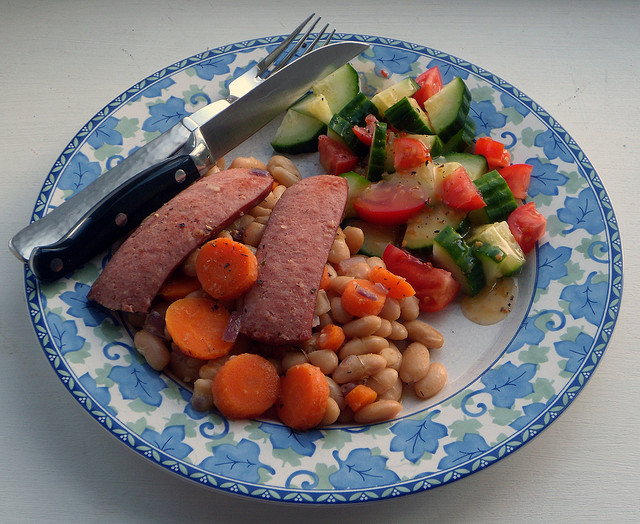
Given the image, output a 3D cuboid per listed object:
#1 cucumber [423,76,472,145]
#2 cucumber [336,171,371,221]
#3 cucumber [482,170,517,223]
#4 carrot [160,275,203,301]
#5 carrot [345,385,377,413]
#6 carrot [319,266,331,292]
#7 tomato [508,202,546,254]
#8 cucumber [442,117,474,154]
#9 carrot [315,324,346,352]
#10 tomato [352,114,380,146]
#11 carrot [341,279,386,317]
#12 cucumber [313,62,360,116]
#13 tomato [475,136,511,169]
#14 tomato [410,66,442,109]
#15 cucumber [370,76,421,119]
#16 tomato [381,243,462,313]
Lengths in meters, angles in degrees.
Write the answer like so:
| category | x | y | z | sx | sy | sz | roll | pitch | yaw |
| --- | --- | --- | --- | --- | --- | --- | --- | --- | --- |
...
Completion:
| category | x | y | z | sx | sy | sz | roll | pitch | yaw |
| --- | --- | --- | --- | --- | --- | --- | --- | --- | --- |
| cucumber | 0.584 | -0.787 | 3.534 | 0.373 | 0.086 | 0.253 | -6 | 103 | -29 |
| cucumber | 0.167 | -0.325 | 3.429 | 0.214 | 0.049 | 0.194 | 16 | 91 | -10 |
| cucumber | 0.880 | -0.329 | 3.361 | 0.057 | 0.211 | 0.197 | -17 | 55 | -7 |
| carrot | -0.615 | 0.120 | 3.103 | 0.130 | 0.135 | 0.035 | -37 | 112 | -30 |
| carrot | 0.171 | 0.572 | 2.969 | 0.115 | 0.098 | 0.106 | -38 | 65 | -8 |
| carrot | 0.031 | 0.078 | 3.120 | 0.043 | 0.081 | 0.080 | 33 | 60 | -24 |
| tomato | 1.004 | -0.196 | 3.363 | 0.211 | 0.177 | 0.081 | 19 | 69 | -39 |
| cucumber | 0.732 | -0.626 | 3.574 | 0.055 | 0.202 | 0.188 | 43 | 67 | -12 |
| carrot | 0.050 | 0.337 | 3.018 | 0.105 | 0.047 | 0.124 | 23 | 80 | 2 |
| tomato | 0.234 | -0.663 | 3.577 | 0.140 | 0.059 | 0.140 | -37 | 82 | -21 |
| carrot | 0.187 | 0.164 | 3.091 | 0.168 | 0.103 | 0.161 | 14 | 43 | -9 |
| cucumber | 0.085 | -0.906 | 3.691 | 0.257 | 0.075 | 0.236 | -36 | 79 | -11 |
| tomato | 0.875 | -0.541 | 3.494 | 0.163 | 0.119 | 0.089 | 39 | 77 | 15 |
| tomato | 0.580 | -0.927 | 3.680 | 0.153 | 0.079 | 0.227 | 0 | 70 | 19 |
| cucumber | 0.472 | -0.847 | 3.643 | 0.136 | 0.259 | 0.177 | 52 | 22 | -11 |
| tomato | 0.472 | 0.087 | 3.261 | 0.302 | 0.135 | 0.317 | 13 | 45 | -22 |
